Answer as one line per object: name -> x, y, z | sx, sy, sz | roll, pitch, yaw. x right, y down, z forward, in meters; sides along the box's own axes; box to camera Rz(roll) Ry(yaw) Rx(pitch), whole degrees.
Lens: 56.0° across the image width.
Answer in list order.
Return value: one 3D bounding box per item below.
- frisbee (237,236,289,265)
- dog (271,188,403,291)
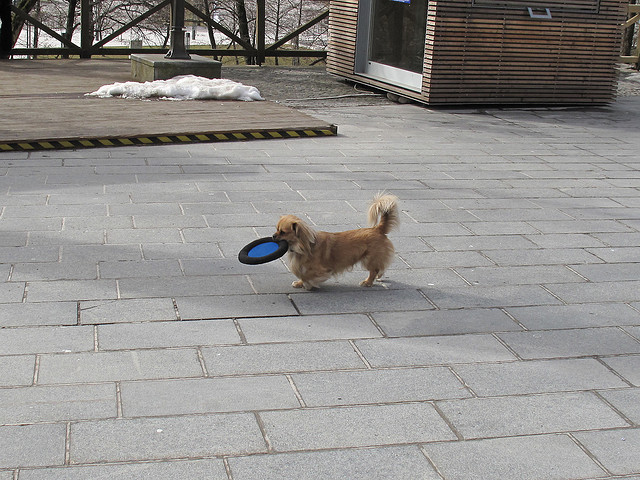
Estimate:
frisbee -> -0.511, 0.071, 5.075 | 0.352, 0.231, 0.448 | -6, 20, -24
dog -> 0.055, 0.017, 5.329 | 0.552, 0.680, 1.605 | 17, 16, 42
